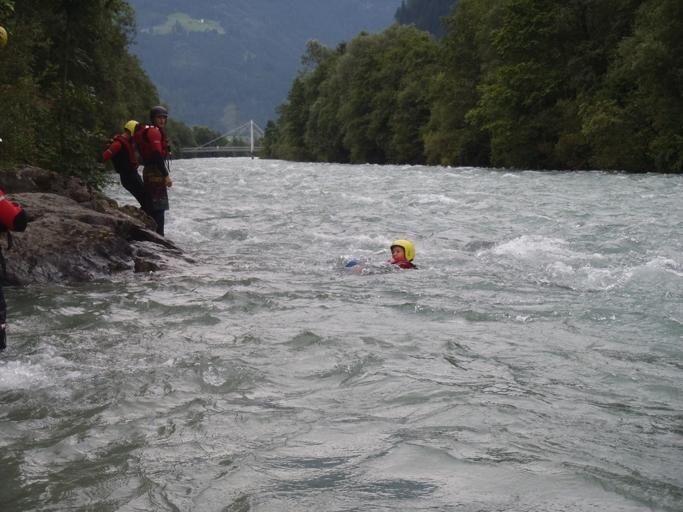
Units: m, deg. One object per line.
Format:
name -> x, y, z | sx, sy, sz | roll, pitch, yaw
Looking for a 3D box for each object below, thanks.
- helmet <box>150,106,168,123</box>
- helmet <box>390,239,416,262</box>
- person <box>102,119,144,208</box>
helmet -> -3.397, -2.639, 13.856 | 0.393, 0.241, 0.260 | -4, 38, -7
helmet -> 1.037, -0.078, 12.692 | 0.346, 0.388, 0.374 | 1, 13, 15
person -> -4.125, -1.661, 14.226 | 0.678, 1.704, 0.810 | -7, 15, -12
